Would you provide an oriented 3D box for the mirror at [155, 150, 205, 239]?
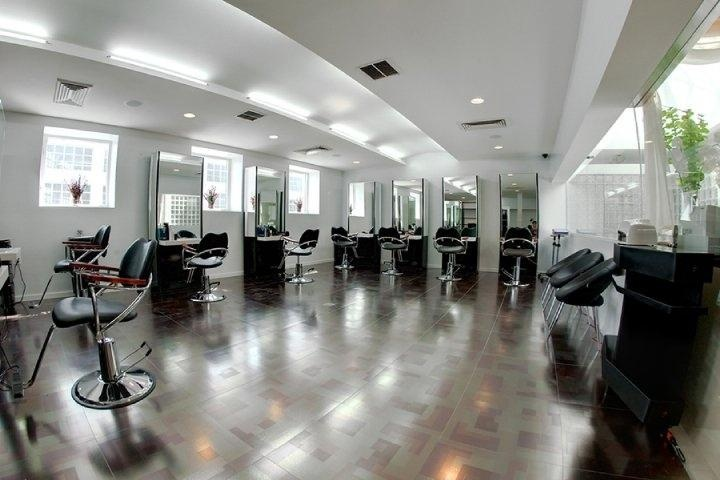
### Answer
[{"bbox_3d":[-3.326,-0.819,7.702,0.132,1.555,0.919,7,10,42],"label":"mirror"}]

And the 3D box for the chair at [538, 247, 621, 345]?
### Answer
[{"bbox_3d":[2.657,0.563,5.067,1.011,1.419,1.244,1,0,19],"label":"chair"}]

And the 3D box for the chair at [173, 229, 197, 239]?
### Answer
[{"bbox_3d":[-3.280,-0.107,7.808,0.166,0.191,0.202,7,3,37],"label":"chair"}]

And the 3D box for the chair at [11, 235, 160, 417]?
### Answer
[{"bbox_3d":[-2.903,0.720,4.705,0.922,1.537,2.191,-4,9,-36],"label":"chair"}]

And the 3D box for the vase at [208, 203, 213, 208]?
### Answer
[{"bbox_3d":[-3.067,-0.716,8.638,0.094,0.099,0.090,10,17,29],"label":"vase"}]

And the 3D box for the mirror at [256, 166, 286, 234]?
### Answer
[{"bbox_3d":[-1.888,-0.859,9.118,0.297,1.408,0.989,3,7,17],"label":"mirror"}]

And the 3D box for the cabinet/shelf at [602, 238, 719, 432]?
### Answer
[{"bbox_3d":[2.677,0.824,3.800,0.772,1.650,0.474,7,9,40],"label":"cabinet/shelf"}]
